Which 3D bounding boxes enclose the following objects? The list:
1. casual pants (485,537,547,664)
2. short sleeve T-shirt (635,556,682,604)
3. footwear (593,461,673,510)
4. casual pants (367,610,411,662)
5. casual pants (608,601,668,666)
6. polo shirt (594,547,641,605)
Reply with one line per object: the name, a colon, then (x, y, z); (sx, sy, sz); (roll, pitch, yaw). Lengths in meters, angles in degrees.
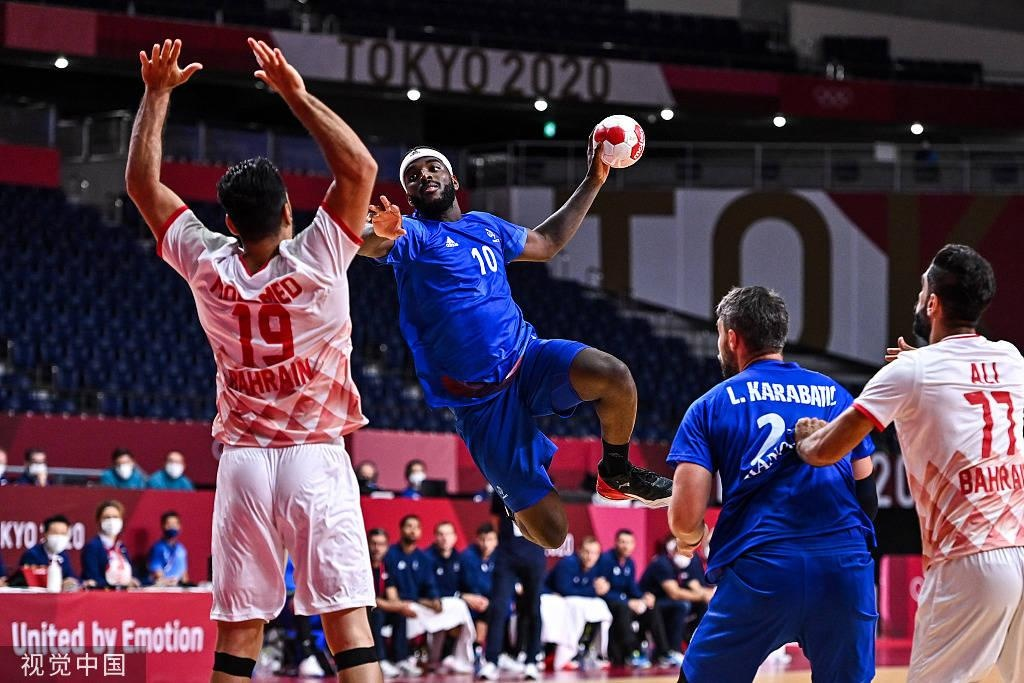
casual pants: (0.056, 4.287, 28.663); (0.934, 2.107, 0.531); (2, -4, -1)
short sleeve T-shirt: (2.609, 4.155, 30.213); (0.806, 0.836, 0.615); (-7, -36, 5)
footwear: (1.769, 2.000, 23.573); (1.236, 0.459, 0.580); (8, -43, 7)
casual pants: (-2.067, 4.823, 28.326); (0.393, 0.891, 0.797); (-1, -5, 33)
casual pants: (2.081, 4.993, 29.545); (0.964, 1.322, 1.136); (0, -4, 20)
polo shirt: (1.787, 4.024, 29.812); (0.876, 0.912, 0.796); (0, -9, 1)
